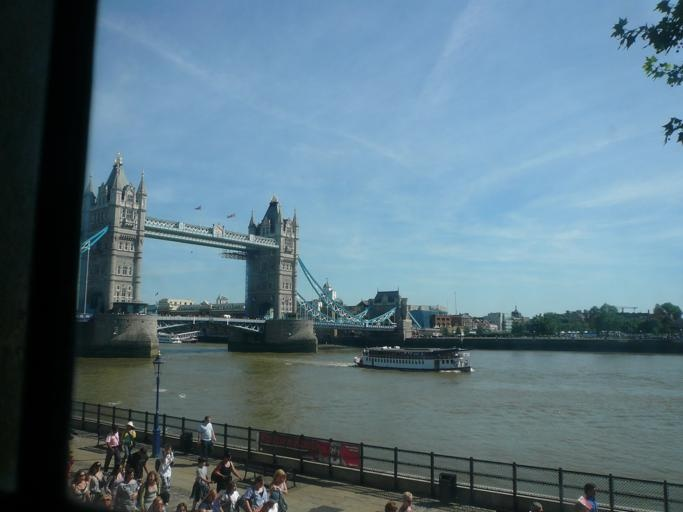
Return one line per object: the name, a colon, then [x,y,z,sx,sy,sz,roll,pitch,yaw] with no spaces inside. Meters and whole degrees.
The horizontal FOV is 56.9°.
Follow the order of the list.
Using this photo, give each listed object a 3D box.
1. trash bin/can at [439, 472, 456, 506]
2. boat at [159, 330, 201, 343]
trash bin/can: [2.170,4.794,12.873,0.339,0.617,0.195,-6,-23,22]
boat: [-30.516,15.381,119.084,7.037,2.110,19.021,3,-6,-13]
